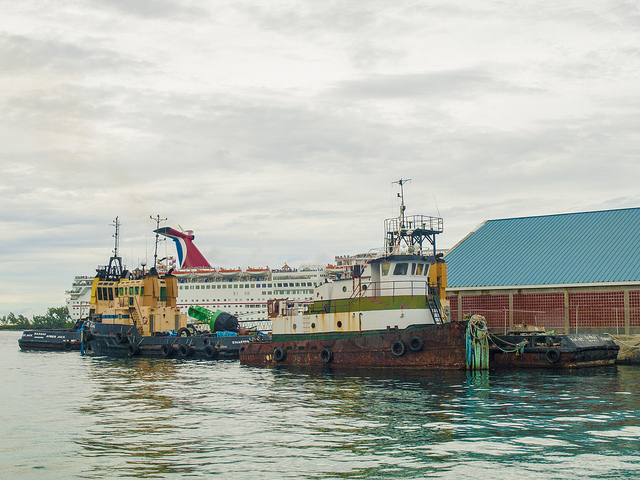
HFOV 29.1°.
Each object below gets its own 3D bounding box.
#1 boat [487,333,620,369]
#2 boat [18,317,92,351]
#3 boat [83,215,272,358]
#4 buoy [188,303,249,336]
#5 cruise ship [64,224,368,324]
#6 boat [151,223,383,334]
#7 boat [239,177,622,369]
[{"bbox_3d":[11.184,5.411,60.684,6.396,1.207,5.444,-3,-4,29],"label":"boat"},{"bbox_3d":[-17.675,6.563,81.610,4.613,1.407,3.048,-1,-5,24],"label":"boat"},{"bbox_3d":[-8.834,3.006,72.734,16.257,7.620,5.317,0,5,41],"label":"boat"},{"bbox_3d":[-6.178,4.772,72.595,4.494,1.189,1.301,15,9,30],"label":"buoy"},{"bbox_3d":[-7.662,3.090,110.394,30.018,8.658,4.434,-1,8,5],"label":"cruise ship"},{"bbox_3d":[-11.866,3.816,106.372,27.693,8.975,6.836,-1,-3,10],"label":"boat"},{"bbox_3d":[4.552,2.296,61.550,19.547,8.294,7.208,-5,-14,39],"label":"boat"}]
